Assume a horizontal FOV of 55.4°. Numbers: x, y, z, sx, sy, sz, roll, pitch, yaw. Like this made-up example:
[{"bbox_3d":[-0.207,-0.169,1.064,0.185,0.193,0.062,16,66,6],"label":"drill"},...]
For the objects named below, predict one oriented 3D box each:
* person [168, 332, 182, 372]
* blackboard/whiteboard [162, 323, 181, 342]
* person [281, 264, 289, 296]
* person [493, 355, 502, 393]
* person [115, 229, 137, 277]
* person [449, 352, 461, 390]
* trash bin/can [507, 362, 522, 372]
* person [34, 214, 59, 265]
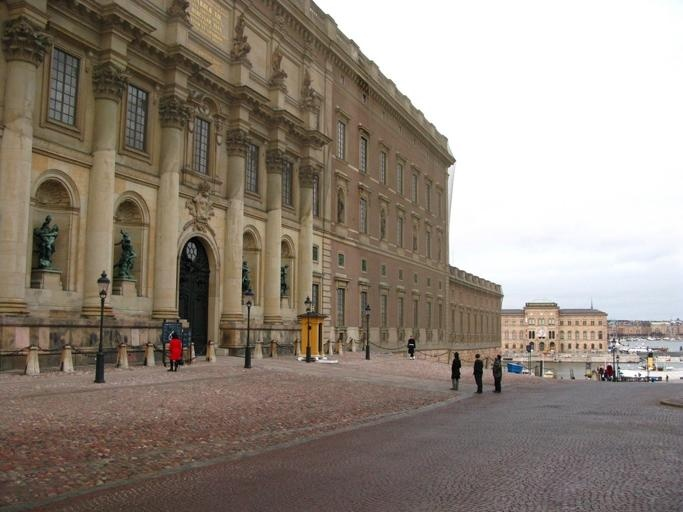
[{"bbox_3d":[-6.940,4.151,27.310,0.506,1.245,1.433,3,-4,-13],"label":"person"},{"bbox_3d":[-7.900,3.589,30.217,0.092,0.717,0.602,-8,-33,35],"label":"blackboard/whiteboard"},{"bbox_3d":[-3.632,1.623,42.212,0.414,2.081,0.952,2,-4,6],"label":"person"},{"bbox_3d":[6.644,5.015,27.680,0.348,1.573,1.398,2,-4,12],"label":"person"},{"bbox_3d":[-10.170,-0.030,30.708,0.932,2.261,1.013,4,-4,-20],"label":"person"},{"bbox_3d":[4.871,4.909,27.712,0.329,1.558,0.902,2,-4,10],"label":"person"},{"bbox_3d":[14.981,9.778,56.512,0.687,0.942,2.898,2,-4,32],"label":"trash bin/can"},{"bbox_3d":[-12.481,-0.563,27.509,0.870,2.279,1.177,3,-4,-15],"label":"person"}]
